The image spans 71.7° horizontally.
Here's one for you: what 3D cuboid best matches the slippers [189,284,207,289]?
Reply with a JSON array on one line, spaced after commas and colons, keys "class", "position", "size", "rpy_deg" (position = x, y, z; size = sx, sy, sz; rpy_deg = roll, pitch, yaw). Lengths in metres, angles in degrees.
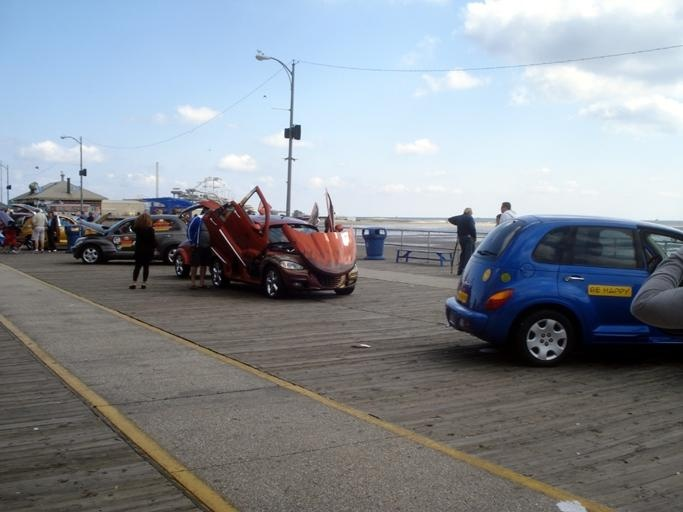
[{"class": "slippers", "position": [-4.452, 0.947, 14.609], "size": [0.579, 0.160, 0.149], "rpy_deg": [0, 2, -3]}]
